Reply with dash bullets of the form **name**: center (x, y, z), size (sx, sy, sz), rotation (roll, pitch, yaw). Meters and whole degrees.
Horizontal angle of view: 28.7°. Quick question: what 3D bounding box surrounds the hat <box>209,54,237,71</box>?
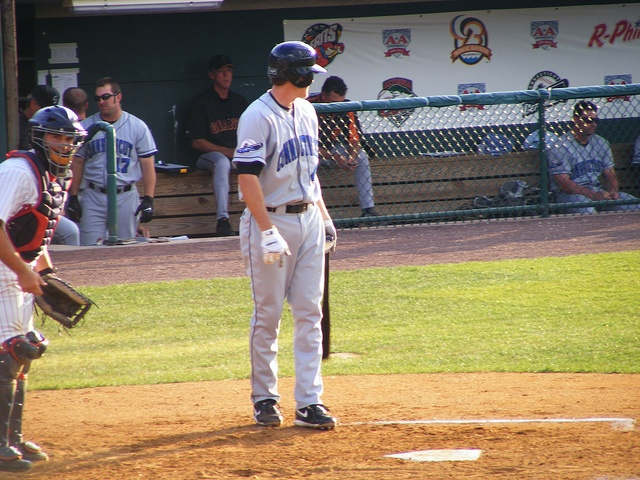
- **hat**: center (-1.095, -2.009, 14.055), size (0.208, 0.102, 0.259), rotation (-3, -7, -35)

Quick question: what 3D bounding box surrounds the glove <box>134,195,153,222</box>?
- **glove**: center (-1.809, -0.321, 12.955), size (0.272, 0.227, 0.136), rotation (2, -1, -17)

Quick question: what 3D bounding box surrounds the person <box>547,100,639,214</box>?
- **person**: center (2.880, -0.959, 13.628), size (0.783, 1.096, 0.342), rotation (-6, 8, -29)

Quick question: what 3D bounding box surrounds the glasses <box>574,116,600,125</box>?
- **glasses**: center (2.872, -1.309, 13.529), size (0.179, 0.121, 0.138), rotation (-9, 7, 32)

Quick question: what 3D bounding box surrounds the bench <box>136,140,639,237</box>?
- **bench**: center (0.722, -0.505, 12.879), size (6.828, 0.741, 1.133), rotation (-1, -5, -1)

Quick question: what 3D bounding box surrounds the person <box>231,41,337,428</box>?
- **person**: center (-0.267, -0.040, 9.344), size (0.692, 2.875, 0.609), rotation (-3, 8, 0)

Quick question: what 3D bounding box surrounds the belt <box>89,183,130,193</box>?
- **belt**: center (-2.153, -0.538, 12.853), size (0.458, 0.123, 0.157), rotation (-2, 6, -8)

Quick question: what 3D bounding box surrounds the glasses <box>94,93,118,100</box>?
- **glasses**: center (-2.165, -1.457, 12.693), size (0.222, 0.076, 0.135), rotation (-2, 5, -6)

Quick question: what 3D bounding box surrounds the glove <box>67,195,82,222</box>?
- **glove**: center (-2.592, -0.336, 13.185), size (0.123, 0.246, 0.231), rotation (2, 8, -19)

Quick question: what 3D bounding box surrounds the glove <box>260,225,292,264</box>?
- **glove**: center (-0.336, 0.039, 9.098), size (0.311, 0.223, 0.083), rotation (-3, 1, -9)

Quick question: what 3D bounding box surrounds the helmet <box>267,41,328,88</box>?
- **helmet**: center (-0.180, -1.326, 9.393), size (0.538, 0.263, 0.321), rotation (0, 13, 7)
